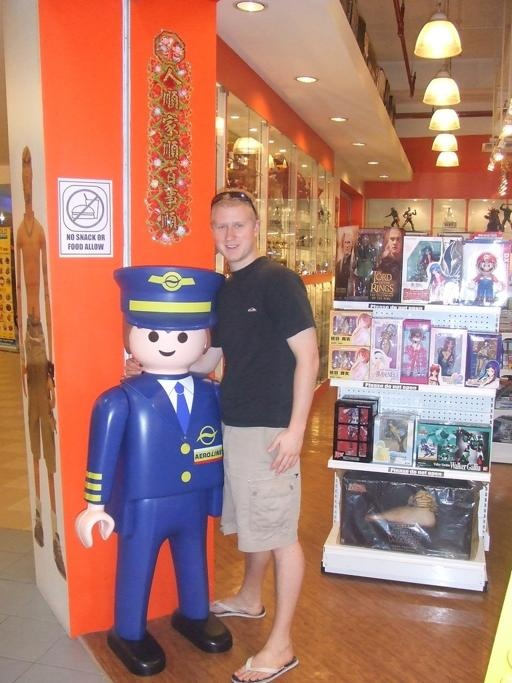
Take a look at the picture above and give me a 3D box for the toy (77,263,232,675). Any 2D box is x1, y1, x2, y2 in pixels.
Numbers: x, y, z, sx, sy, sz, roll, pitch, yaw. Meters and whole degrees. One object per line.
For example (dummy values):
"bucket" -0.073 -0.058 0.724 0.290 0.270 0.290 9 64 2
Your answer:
"toy" -0.328 0.444 1.869 0.567 1.368 0.345 -1 4 -28

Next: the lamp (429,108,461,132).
"lamp" 1.843 -2.173 5.340 0.217 0.262 0.317 3 4 29

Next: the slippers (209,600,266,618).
"slippers" -0.082 1.101 2.260 0.206 0.053 0.081 5 -10 3

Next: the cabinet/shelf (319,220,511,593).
"cabinet/shelf" 0.754 0.305 2.651 0.829 1.679 0.355 2 3 11

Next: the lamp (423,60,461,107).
"lamp" 1.533 -2.087 4.495 0.244 0.321 0.285 3 3 25

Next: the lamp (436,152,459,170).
"lamp" 2.584 -2.463 7.384 0.239 0.225 0.410 2 3 23

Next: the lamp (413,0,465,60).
"lamp" 1.151 -1.948 3.482 0.258 0.335 0.194 3 4 36
